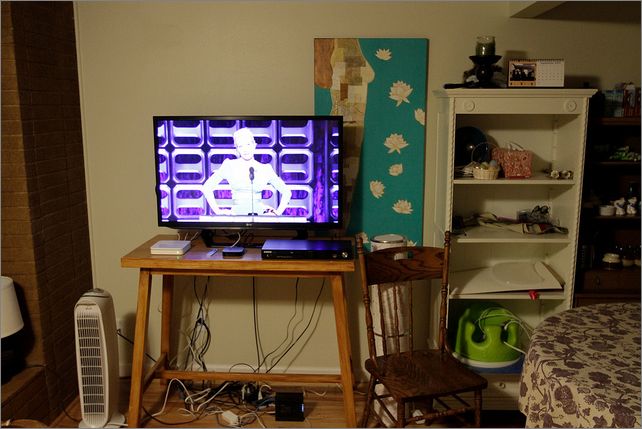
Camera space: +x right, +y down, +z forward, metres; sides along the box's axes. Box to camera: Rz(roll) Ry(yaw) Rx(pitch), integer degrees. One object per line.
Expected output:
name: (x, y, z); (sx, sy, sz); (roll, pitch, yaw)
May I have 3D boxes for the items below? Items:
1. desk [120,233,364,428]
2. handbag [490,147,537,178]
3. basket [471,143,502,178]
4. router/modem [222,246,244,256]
desk: (-0.481, 1.101, 4.230); (2.129, 1.604, 1.194); (0, 4, 2)
handbag: (1.338, -0.353, 3.738); (0.189, 0.240, 0.350); (0, 6, -1)
basket: (1.159, -0.374, 3.813); (0.261, 0.163, 0.266); (1, -2, 11)
router/modem: (-0.603, 0.254, 3.719); (0.150, 0.040, 0.185); (-2, 9, -7)
